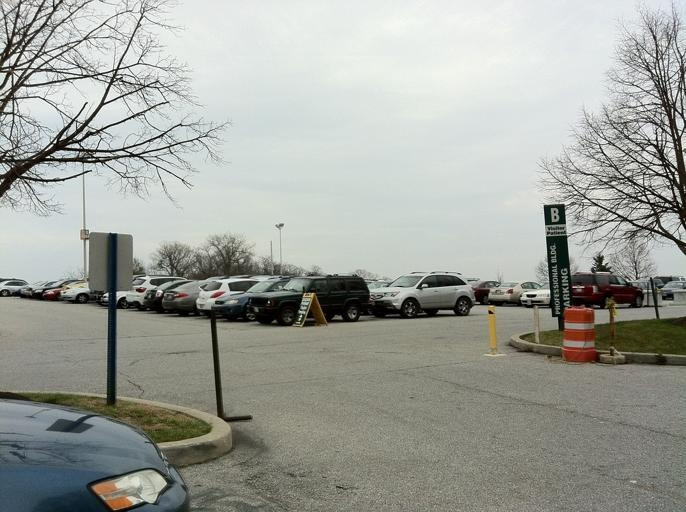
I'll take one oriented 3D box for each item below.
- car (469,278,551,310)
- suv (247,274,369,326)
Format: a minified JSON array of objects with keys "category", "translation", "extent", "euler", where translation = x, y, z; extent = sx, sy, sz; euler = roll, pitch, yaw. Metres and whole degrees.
[{"category":"car","translation":[10.206,2.331,36.799],"extent":[2.437,1.588,5.160],"euler":[0,-5,-27]},{"category":"suv","translation":[-1.434,1.713,23.144],"extent":[3.736,1.581,2.102],"euler":[4,-8,-34]}]
